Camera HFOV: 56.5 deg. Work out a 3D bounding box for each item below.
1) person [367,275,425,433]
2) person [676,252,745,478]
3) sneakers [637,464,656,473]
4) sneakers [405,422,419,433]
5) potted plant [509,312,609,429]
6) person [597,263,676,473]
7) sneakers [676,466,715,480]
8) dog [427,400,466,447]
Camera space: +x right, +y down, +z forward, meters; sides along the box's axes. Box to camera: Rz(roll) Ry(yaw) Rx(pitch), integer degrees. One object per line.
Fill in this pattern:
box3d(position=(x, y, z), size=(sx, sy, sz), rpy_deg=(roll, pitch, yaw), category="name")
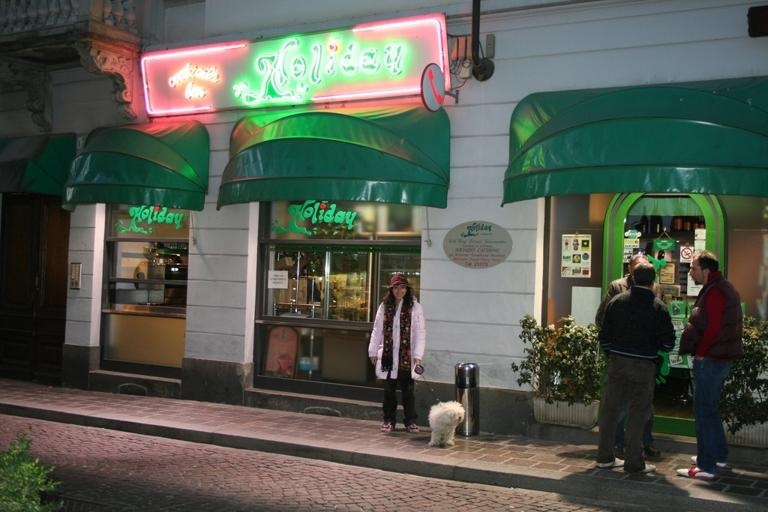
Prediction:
box3d(position=(0.186, 1.510, 11.124), size=(0.849, 2.409, 0.455), rpy_deg=(0, 5, 3), category="person")
box3d(position=(4.225, 1.411, 9.310), size=(0.772, 2.913, 0.590), rpy_deg=(0, 5, 12), category="person")
box3d(position=(3.446, 2.768, 9.403), size=(0.289, 0.117, 0.097), rpy_deg=(-1, -1, -23), category="sneakers")
box3d(position=(0.430, 2.664, 11.171), size=(0.224, 0.146, 0.230), rpy_deg=(0, 5, 1), category="sneakers")
box3d(position=(2.457, 1.709, 11.414), size=(1.693, 2.094, 1.441), rpy_deg=(-2, -7, 29), category="potted plant")
box3d(position=(3.263, 1.464, 9.366), size=(0.895, 2.694, 0.396), rpy_deg=(1, 5, 16), category="person")
box3d(position=(3.997, 2.797, 9.236), size=(0.476, 0.183, 0.173), rpy_deg=(4, -4, 22), category="sneakers")
box3d(position=(0.833, 2.488, 10.548), size=(0.511, 0.613, 0.727), rpy_deg=(5, -17, -22), category="dog")
